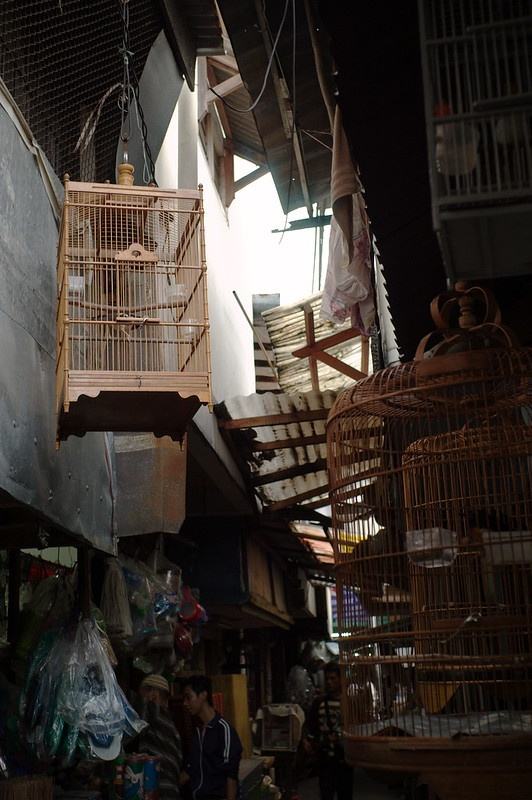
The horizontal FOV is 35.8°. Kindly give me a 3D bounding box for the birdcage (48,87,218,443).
[{"bbox_3d":[-0.467,-0.399,2.874,0.505,0.941,0.584,-2,-9,2],"label":"birdcage"}]
